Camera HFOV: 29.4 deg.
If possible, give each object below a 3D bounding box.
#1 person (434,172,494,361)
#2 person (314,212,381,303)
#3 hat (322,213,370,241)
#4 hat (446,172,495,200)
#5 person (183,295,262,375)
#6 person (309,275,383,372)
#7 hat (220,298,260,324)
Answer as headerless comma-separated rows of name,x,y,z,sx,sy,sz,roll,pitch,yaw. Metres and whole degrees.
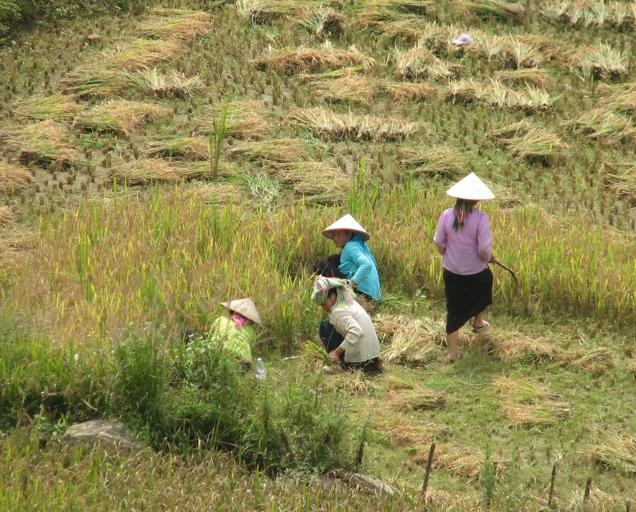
person,1.643,0.148,13.818,0.675,2.150,0.289,4,9,8
person,0.349,0.208,14.698,0.682,1.376,0.650,6,-8,2
hat,0.324,-0.347,14.751,0.541,0.337,0.837,3,11,-6
hat,1.713,-0.730,13.628,0.351,0.184,0.398,-2,25,-14
person,-1.027,0.896,13.348,0.698,0.727,1.302,6,11,9
person,0.275,0.907,13.806,0.674,1.410,0.706,0,20,26
hat,-0.838,0.681,13.560,0.312,0.159,0.310,34,-10,-28
